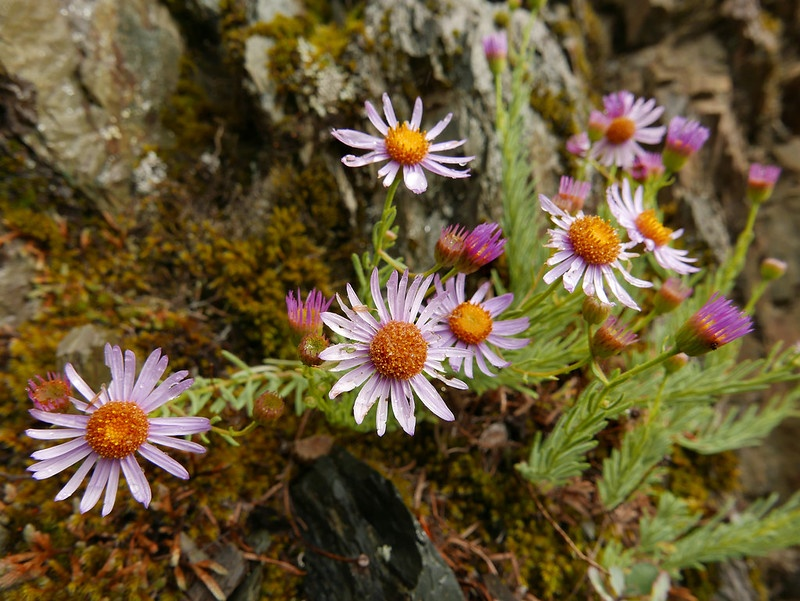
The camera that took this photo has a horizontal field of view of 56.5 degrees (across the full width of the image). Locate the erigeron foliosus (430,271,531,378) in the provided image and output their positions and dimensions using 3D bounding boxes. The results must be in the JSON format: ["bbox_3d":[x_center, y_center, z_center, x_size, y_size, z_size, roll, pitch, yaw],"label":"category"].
[{"bbox_3d":[0.358,0.152,3.934,0.498,0.145,0.516,21,46,-27],"label":"erigeron foliosus"}]

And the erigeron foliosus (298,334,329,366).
[{"bbox_3d":[-0.423,0.231,3.584,0.119,0.145,0.138,0,13,-5],"label":"erigeron foliosus"}]

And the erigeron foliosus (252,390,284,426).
[{"bbox_3d":[-0.641,0.525,3.631,0.124,0.168,0.153,3,18,-7],"label":"erigeron foliosus"}]

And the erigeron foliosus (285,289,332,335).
[{"bbox_3d":[-0.502,0.078,3.711,0.208,0.219,0.256,-4,84,27],"label":"erigeron foliosus"}]

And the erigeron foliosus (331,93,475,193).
[{"bbox_3d":[0.050,-0.786,3.845,0.791,0.251,0.858,-6,27,-21],"label":"erigeron foliosus"}]
